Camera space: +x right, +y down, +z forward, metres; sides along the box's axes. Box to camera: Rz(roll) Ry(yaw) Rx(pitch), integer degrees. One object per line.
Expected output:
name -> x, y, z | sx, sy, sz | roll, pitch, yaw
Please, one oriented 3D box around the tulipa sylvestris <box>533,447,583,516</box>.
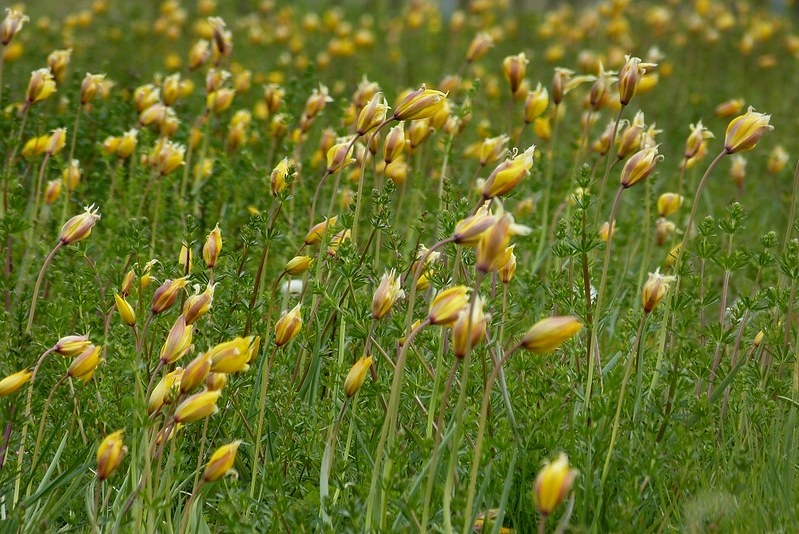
tulipa sylvestris -> 0.516, 0.722, 3.531 | 0.115, 0.204, 0.115 | -3, -9, 31
